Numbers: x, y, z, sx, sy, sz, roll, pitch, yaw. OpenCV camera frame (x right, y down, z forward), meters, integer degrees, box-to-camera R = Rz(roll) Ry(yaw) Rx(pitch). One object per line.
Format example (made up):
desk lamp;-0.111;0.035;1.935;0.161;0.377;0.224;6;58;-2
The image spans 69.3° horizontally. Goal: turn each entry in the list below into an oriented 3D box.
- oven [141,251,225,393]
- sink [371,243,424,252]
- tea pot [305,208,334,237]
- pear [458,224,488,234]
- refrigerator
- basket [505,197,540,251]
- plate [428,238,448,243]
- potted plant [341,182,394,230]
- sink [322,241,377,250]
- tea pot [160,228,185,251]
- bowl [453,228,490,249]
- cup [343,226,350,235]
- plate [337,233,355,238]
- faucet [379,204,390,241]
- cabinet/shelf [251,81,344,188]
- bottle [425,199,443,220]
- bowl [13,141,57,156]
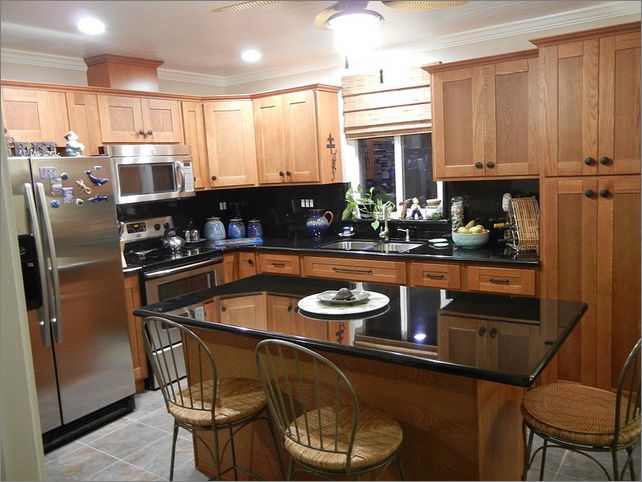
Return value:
oven;-1.516;0.656;4.446;0.860;1.053;0.907;7;14;33
sink;0.742;0.065;4.439;0.535;0.080;0.192;5;12;37
tea pot;-0.019;-0.194;4.938;0.365;0.306;0.270;0;-3;-13
pear;1.325;-0.102;4.048;0.131;0.055;0.135;-1;2;40
refrigerator;-1.779;0.346;3.383;0.307;1.891;0.843;3;13;24
basket;1.641;-0.153;3.736;0.300;0.409;0.151;-4;-28;26
plate;1.072;0.005;4.258;0.155;0.047;0.116;2;10;23
potted plant;0.491;-0.338;4.795;0.568;0.458;0.410;8;15;43
sink;0.272;0.044;4.673;0.212;0.082;0.247;1;3;27
tea pot;-1.477;-0.021;4.673;0.217;0.251;0.297;2;5;16
bowl;1.306;-0.007;4.041;0.293;0.140;0.144;0;11;13
cup;0.278;-0.102;4.929;0.101;0.090;0.091;1;3;11
plate;0.256;-0.064;4.930;0.179;0.055;0.114;3;11;25
faucet;0.636;-0.188;4.667;0.099;0.360;0.267;-1;11;7
cabinet/shelf;-0.215;-1.088;4.757;1.329;1.038;0.487;1;6;24
bottle;1.085;-0.308;4.540;0.111;0.199;0.220;-12;14;-37
bowl;-2.124;-0.676;3.425;0.285;0.130;0.640;-8;11;-30
